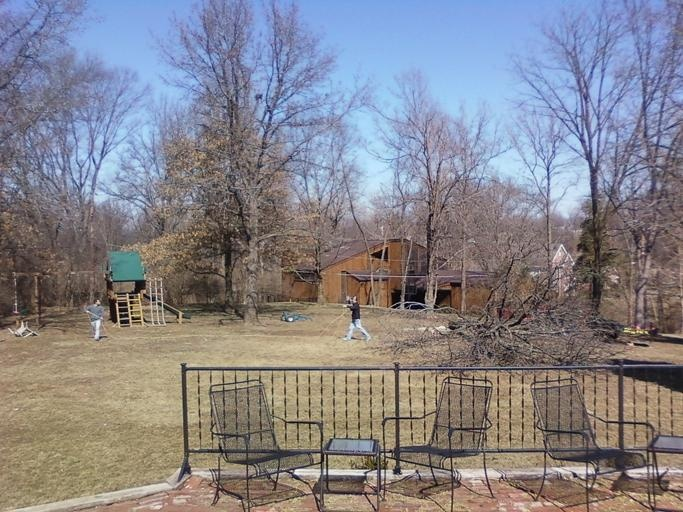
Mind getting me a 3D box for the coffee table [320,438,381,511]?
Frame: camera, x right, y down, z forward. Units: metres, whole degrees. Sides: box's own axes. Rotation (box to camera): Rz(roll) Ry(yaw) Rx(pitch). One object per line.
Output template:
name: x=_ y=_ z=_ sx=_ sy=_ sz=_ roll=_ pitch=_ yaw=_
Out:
coffee table: x=0.231 y=5.112 z=17.664 sx=1.763 sy=1.794 sz=1.458 roll=1 pitch=3 yaw=6
